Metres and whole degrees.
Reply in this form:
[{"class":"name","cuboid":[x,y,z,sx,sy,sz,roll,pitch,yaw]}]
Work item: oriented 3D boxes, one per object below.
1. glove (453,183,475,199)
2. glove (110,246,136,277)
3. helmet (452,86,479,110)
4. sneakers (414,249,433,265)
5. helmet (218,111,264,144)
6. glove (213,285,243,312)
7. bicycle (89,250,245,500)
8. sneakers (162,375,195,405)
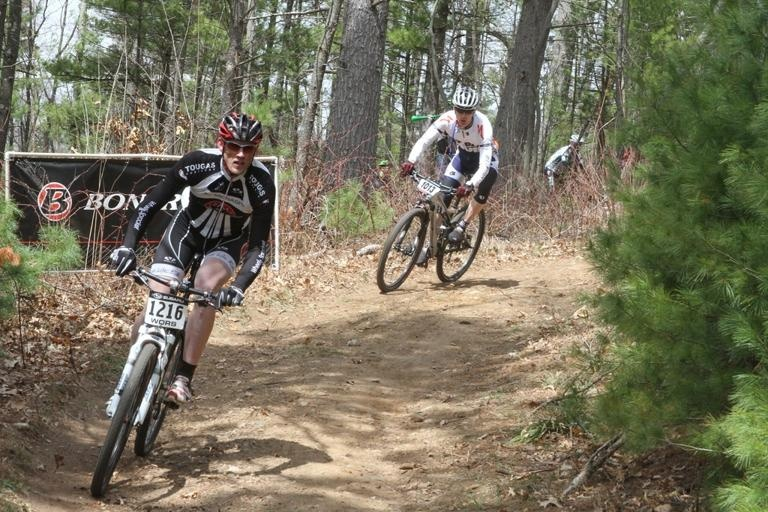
[{"class":"glove","cuboid":[1.090,-0.909,10.738,0.214,0.125,0.296,2,-4,5]},{"class":"glove","cuboid":[-2.143,0.034,6.497,0.204,0.230,0.103,30,-11,-3]},{"class":"helmet","cuboid":[1.099,-2.122,10.562,0.349,0.321,0.367,7,7,5]},{"class":"sneakers","cuboid":[0.567,0.014,10.921,0.058,0.229,0.167,34,-25,-28]},{"class":"helmet","cuboid":[-1.258,-1.125,6.946,0.400,0.271,0.570,6,4,-14]},{"class":"glove","cuboid":[-1.304,0.355,6.522,0.188,0.110,0.221,2,-12,-26]},{"class":"bicycle","cuboid":[-1.934,0.990,6.626,0.721,1.951,1.066,8,7,19]},{"class":"sneakers","cuboid":[-1.796,1.179,6.898,0.138,0.183,0.396,15,-10,2]}]
